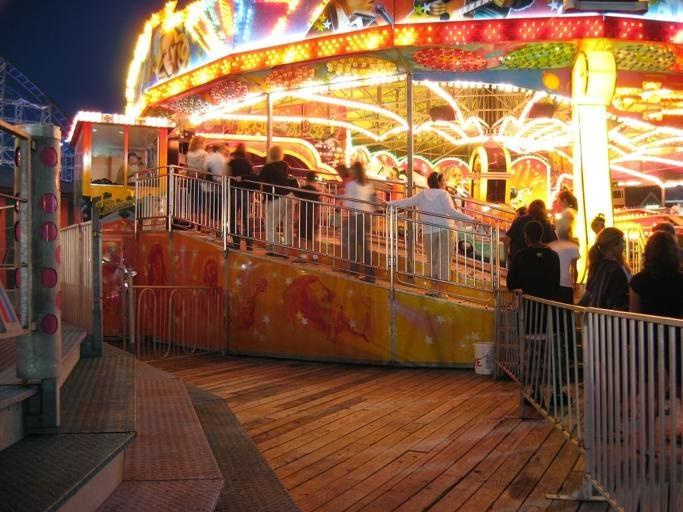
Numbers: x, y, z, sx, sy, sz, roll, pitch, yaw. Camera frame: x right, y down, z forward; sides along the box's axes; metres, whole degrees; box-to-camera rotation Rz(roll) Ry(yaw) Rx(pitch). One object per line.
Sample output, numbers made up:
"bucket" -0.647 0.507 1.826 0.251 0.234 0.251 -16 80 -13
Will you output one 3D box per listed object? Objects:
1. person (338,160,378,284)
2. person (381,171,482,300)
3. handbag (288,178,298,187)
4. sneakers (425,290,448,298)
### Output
"person" 0.260 -0.544 9.355 0.575 1.847 1.105 -5 5 4
"person" 1.356 -0.321 8.860 0.860 1.825 0.700 -5 4 6
"handbag" -0.825 -1.254 10.273 0.152 0.171 0.044 12 8 8
"sneakers" 1.394 0.568 8.910 0.344 0.163 0.118 6 -1 42
